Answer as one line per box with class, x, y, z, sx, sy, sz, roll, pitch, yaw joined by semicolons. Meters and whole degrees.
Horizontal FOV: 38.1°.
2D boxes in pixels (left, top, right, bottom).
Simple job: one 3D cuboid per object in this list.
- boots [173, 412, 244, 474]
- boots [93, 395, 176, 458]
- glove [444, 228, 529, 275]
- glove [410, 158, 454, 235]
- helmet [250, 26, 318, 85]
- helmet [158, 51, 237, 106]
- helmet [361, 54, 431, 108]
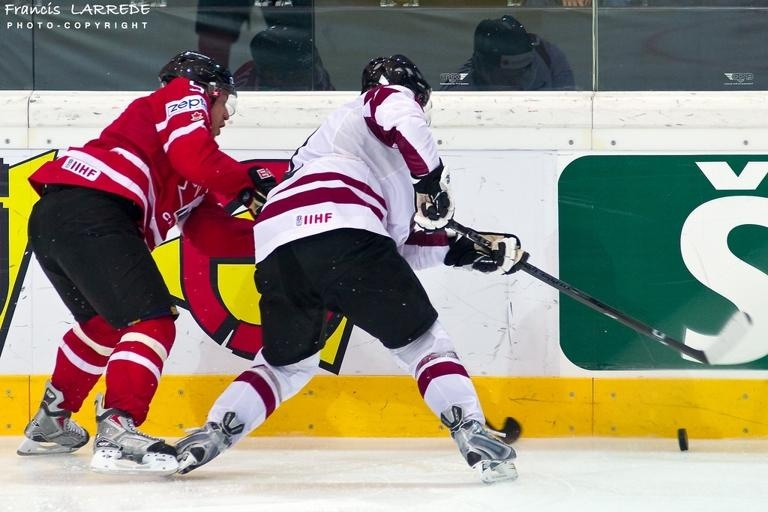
boots;-0.790;0.835;5.166;0.432;0.135;0.160;-32;-15;-31
boots;-1.159;0.787;5.078;0.455;0.252;0.152;18;-14;-42
glove;0.496;-0.026;5.429;0.236;0.133;0.347;5;-11;-28
glove;0.225;-0.273;5.125;0.174;0.314;0.158;0;7;3
helmet;-0.544;-1.082;6.167;0.385;0.321;0.369;0;3;-27
helmet;-0.905;-0.901;5.508;0.289;0.253;0.215;21;14;-31
helmet;0.043;-0.821;5.349;0.321;0.250;0.223;11;-30;-30
